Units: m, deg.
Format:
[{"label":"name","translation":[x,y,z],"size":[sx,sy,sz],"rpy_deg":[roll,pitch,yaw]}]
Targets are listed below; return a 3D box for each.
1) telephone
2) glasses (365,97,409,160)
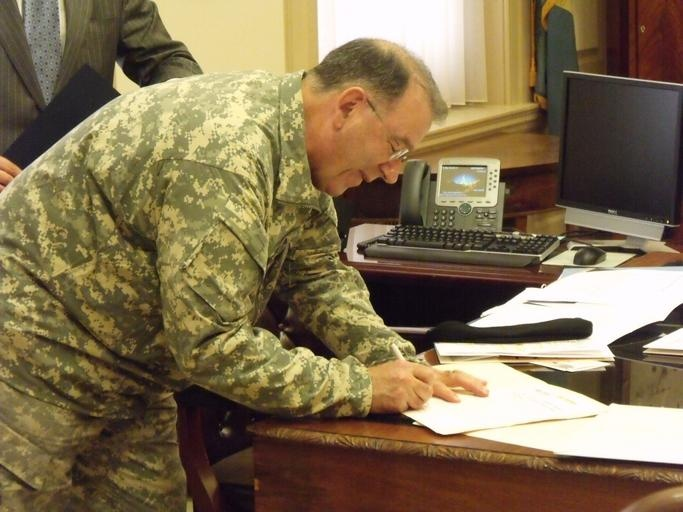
[{"label":"telephone","translation":[0.389,-0.202,2.168],"size":[0.363,0.313,0.198],"rpy_deg":[2,1,12]},{"label":"glasses","translation":[0.101,-0.255,1.233],"size":[0.030,0.105,0.099],"rpy_deg":[-11,0,-7]}]
